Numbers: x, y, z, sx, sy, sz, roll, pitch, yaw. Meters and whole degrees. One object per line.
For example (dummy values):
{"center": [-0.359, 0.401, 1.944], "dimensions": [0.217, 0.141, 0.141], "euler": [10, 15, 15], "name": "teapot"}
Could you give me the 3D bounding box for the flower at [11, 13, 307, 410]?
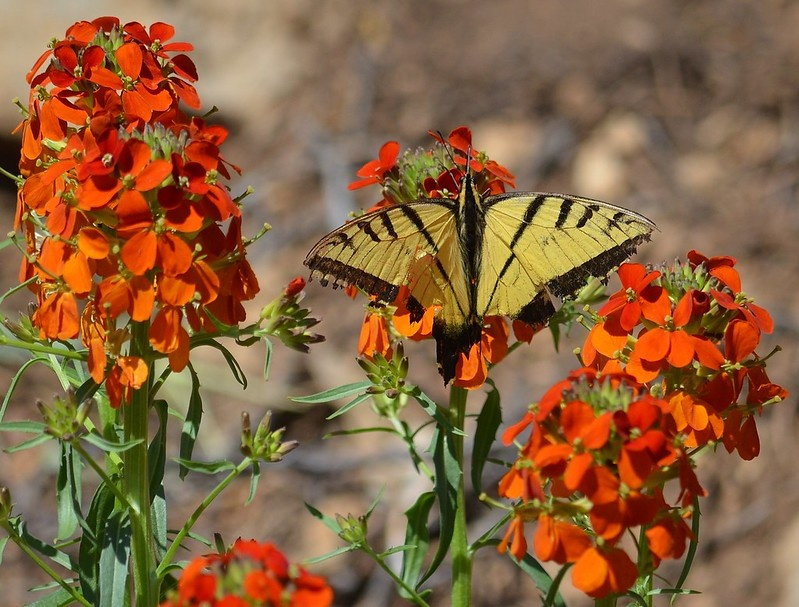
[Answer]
{"center": [-0.855, -0.317, 3.287], "dimensions": [0.749, 1.185, 0.466], "euler": [-6, 9, -10], "name": "flower"}
